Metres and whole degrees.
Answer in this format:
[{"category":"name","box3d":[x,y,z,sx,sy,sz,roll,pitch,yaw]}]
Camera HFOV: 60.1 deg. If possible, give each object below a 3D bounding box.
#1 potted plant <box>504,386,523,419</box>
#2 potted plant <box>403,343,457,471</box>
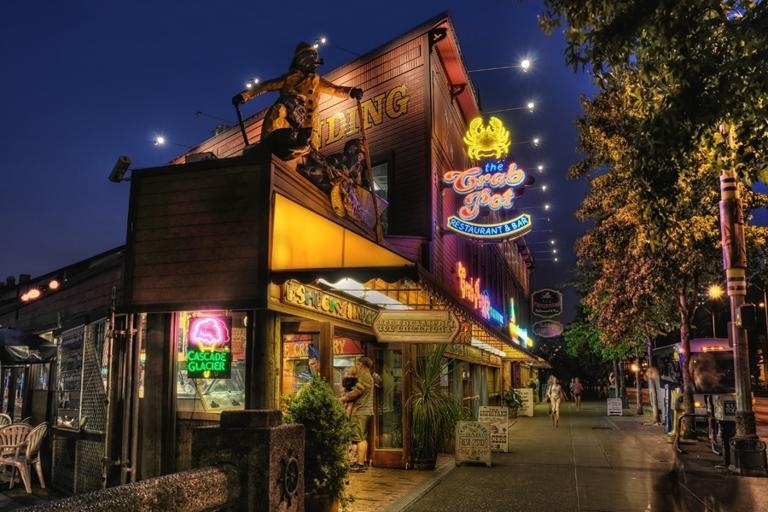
[{"category":"potted plant","box3d":[6.342,7.279,33.010,0.879,1.542,1.900,-4,-16,9]},{"category":"potted plant","box3d":[1.119,3.649,16.316,1.184,2.994,0.573,0,-15,-7]}]
